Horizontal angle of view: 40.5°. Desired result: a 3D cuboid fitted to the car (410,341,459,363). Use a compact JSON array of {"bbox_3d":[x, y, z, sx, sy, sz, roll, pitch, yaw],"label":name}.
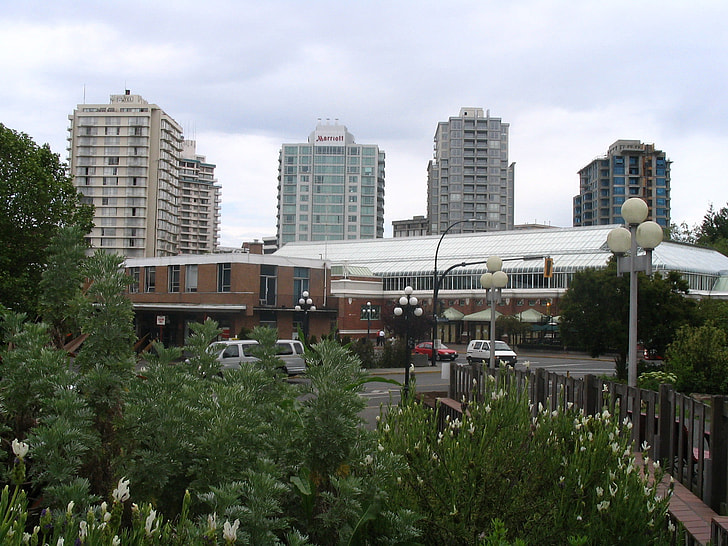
[{"bbox_3d":[3.416,3.854,48.440,2.054,1.015,1.242,-3,-3,37],"label":"car"}]
